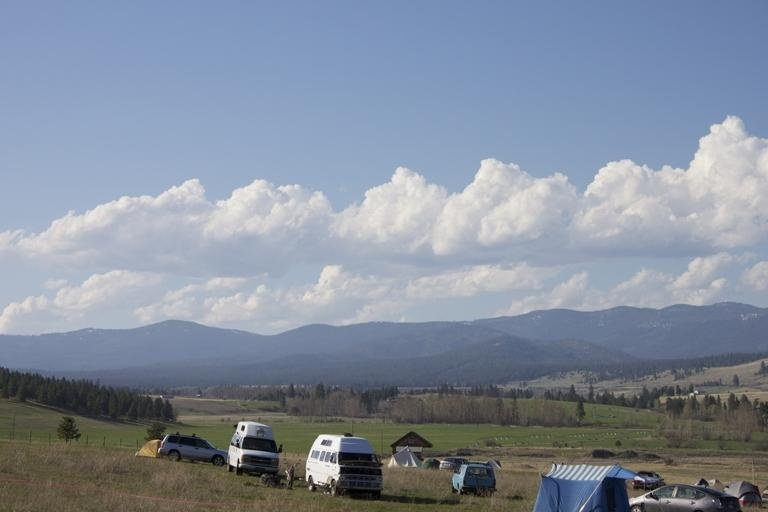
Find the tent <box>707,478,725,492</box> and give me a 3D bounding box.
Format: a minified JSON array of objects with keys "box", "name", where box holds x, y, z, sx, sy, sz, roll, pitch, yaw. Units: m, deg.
[{"box":[114.792,80.615,353.809,7.129,3.332,6.871,5,-4,-43],"name":"tent"}]
